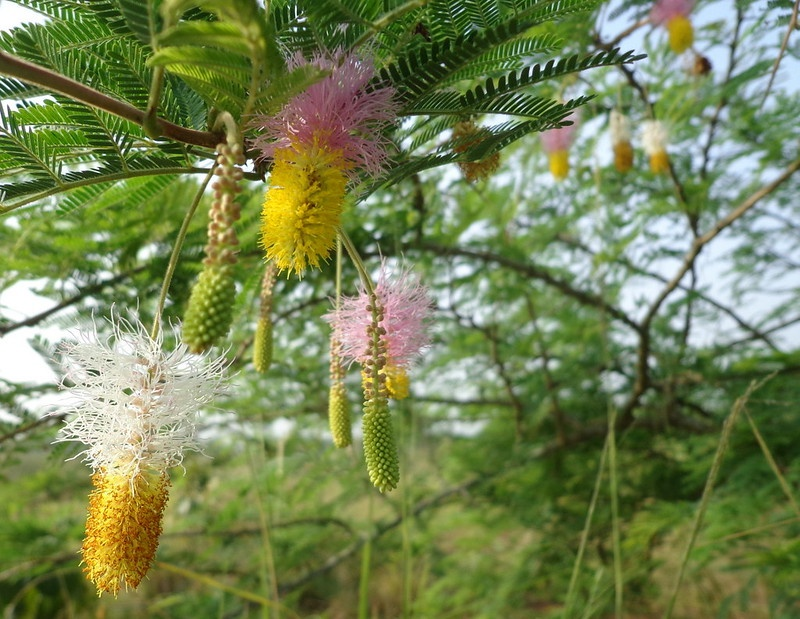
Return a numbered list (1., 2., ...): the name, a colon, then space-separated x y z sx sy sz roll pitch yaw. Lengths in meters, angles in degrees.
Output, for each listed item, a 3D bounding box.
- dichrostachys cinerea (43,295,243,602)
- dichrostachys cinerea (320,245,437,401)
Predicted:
1. dichrostachys cinerea: -0.355 0.189 1.304 0.307 0.599 0.309 -1 -2 -9
2. dichrostachys cinerea: -0.017 0.033 1.265 0.179 0.200 0.155 -12 -12 10
